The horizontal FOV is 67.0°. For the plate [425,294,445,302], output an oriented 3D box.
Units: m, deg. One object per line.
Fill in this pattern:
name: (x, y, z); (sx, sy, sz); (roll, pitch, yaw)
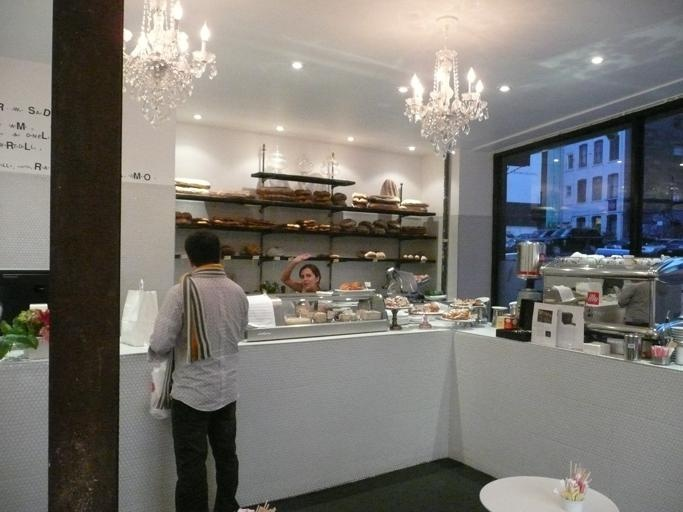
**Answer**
plate: (0.970, 0.436, 5.379); (0.217, 0.050, 0.218); (0, -1, -19)

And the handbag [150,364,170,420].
handbag: (-0.950, 0.702, 2.699); (0.090, 0.323, 0.121); (0, 1, -18)

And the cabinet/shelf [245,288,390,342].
cabinet/shelf: (-0.138, 0.399, 3.510); (1.103, 0.294, 0.165); (0, 1, -34)

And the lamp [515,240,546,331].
lamp: (1.372, 0.202, 3.727); (0.181, 0.607, 0.531); (1, 1, 20)
